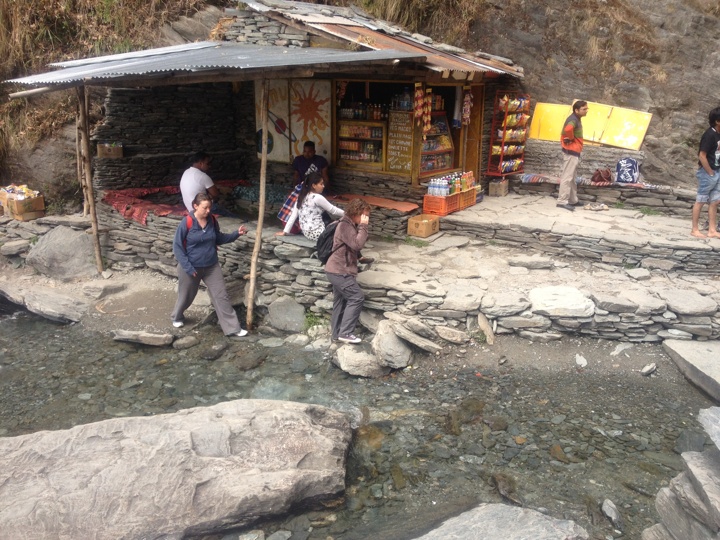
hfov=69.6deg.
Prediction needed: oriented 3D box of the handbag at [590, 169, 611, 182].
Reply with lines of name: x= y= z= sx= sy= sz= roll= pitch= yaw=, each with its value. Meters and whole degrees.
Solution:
handbag: x=5.282 y=-2.081 z=11.362 sx=0.439 sy=0.277 sz=0.367 roll=8 pitch=21 yaw=21

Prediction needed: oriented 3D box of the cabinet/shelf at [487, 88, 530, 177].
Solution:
cabinet/shelf: x=3.355 y=-3.209 z=11.933 sx=0.522 sy=1.673 sz=1.776 roll=14 pitch=28 yaw=29

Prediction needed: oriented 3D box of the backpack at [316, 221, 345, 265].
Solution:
backpack: x=-0.513 y=-0.428 z=7.841 sx=0.214 sy=0.628 sz=0.389 roll=14 pitch=9 yaw=-27

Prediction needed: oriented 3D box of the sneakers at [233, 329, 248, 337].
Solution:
sneakers: x=-1.941 y=1.034 z=8.455 sx=0.240 sy=0.097 sz=0.079 roll=-7 pitch=21 yaw=-8

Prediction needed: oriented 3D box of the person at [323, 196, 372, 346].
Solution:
person: x=-0.232 y=0.064 z=7.693 sx=0.605 sy=2.187 sz=0.539 roll=4 pitch=21 yaw=9

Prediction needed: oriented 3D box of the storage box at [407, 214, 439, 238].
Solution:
storage box: x=1.181 y=-0.869 z=10.023 sx=0.445 sy=0.358 sz=0.603 roll=12 pitch=21 yaw=35

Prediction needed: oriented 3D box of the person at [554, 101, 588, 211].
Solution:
person: x=4.547 y=-2.517 z=11.125 sx=0.569 sy=2.180 sz=1.435 roll=8 pitch=21 yaw=19

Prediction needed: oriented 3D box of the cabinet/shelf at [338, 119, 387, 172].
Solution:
cabinet/shelf: x=0.079 y=-2.645 z=10.785 sx=1.024 sy=0.854 sz=0.354 roll=9 pitch=19 yaw=21

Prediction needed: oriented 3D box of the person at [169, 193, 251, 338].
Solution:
person: x=-2.465 y=-0.070 z=8.234 sx=1.232 sy=2.321 sz=0.702 roll=-4 pitch=21 yaw=-11

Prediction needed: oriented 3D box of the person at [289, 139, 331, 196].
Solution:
person: x=-1.067 y=-2.109 z=10.645 sx=0.766 sy=1.019 sz=0.686 roll=7 pitch=26 yaw=12

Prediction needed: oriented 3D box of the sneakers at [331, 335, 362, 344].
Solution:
sneakers: x=-0.215 y=1.054 z=7.848 sx=0.423 sy=0.169 sz=0.138 roll=1 pitch=11 yaw=14

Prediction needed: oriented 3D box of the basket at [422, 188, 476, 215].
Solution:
basket: x=1.821 y=-1.401 z=10.590 sx=1.293 sy=0.417 sz=0.463 roll=-16 pitch=25 yaw=-39

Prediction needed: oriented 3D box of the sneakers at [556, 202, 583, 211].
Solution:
sneakers: x=4.375 y=-1.353 z=11.109 sx=0.646 sy=0.275 sz=0.209 roll=3 pitch=17 yaw=33

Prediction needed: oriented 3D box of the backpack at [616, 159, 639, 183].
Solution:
backpack: x=5.837 y=-2.197 z=11.338 sx=0.483 sy=0.447 sz=0.802 roll=10 pitch=22 yaw=25
